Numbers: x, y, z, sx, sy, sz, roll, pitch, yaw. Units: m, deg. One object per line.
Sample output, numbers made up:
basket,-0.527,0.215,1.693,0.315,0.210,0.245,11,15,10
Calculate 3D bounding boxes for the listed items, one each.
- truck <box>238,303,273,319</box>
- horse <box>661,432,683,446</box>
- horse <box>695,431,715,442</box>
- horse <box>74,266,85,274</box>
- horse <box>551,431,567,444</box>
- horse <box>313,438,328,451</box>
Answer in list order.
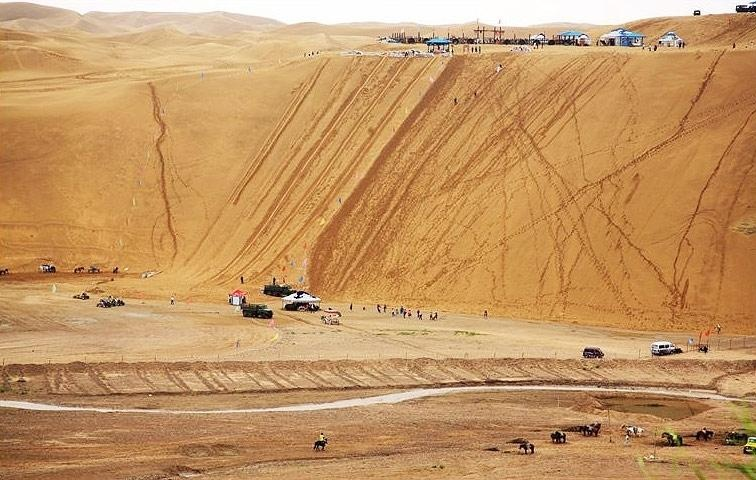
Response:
truck,-9.344,5.459,86.109,2.690,0.660,1.045,0,2,11
horse,17.049,11.545,64.914,1.264,0.438,0.670,1,0,18
horse,18.981,11.356,65.222,1.075,0.592,0.663,3,3,0
horse,-26.833,2.646,100.321,1.009,0.484,1.357,2,2,-13
horse,10.416,11.374,64.839,0.902,0.655,0.884,4,3,7
horse,-3.306,11.612,63.872,0.837,0.656,0.573,3,4,-17
